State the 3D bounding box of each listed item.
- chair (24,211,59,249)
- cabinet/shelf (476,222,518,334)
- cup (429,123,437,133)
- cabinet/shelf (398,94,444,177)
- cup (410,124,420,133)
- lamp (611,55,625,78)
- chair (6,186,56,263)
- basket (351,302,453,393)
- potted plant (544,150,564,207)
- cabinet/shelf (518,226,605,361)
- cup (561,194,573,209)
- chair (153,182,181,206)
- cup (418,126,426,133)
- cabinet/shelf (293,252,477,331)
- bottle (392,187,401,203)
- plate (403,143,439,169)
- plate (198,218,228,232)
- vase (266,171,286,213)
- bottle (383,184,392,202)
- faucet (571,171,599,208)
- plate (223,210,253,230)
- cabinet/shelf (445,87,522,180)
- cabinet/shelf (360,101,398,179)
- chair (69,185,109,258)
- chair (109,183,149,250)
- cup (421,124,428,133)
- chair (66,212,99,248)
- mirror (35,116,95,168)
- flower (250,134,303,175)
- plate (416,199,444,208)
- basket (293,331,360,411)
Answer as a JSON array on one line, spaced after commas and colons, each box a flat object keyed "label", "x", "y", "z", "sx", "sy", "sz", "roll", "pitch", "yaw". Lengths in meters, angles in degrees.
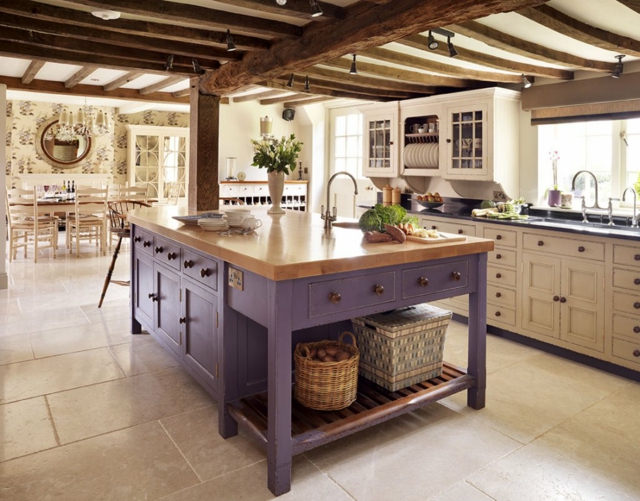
[{"label": "chair", "x": -4.350, "y": -0.327, "z": 7.494, "sx": 0.519, "sy": 0.655, "sz": 0.543, "roll": 2, "pitch": 3, "yaw": 26}, {"label": "cabinet/shelf", "x": 1.649, "y": 0.257, "z": 4.229, "sx": 0.113, "sy": 0.889, "sz": 0.394, "roll": -7, "pitch": 16, "yaw": -26}, {"label": "cup", "x": 1.272, "y": -1.385, "z": 5.285, "sx": 0.085, "sy": 0.105, "sz": 0.103, "roll": 3, "pitch": 14, "yaw": 11}, {"label": "cabinet/shelf", "x": 1.242, "y": -1.278, "z": 5.438, "sx": 0.286, "sy": 0.745, "sz": 0.562, "roll": -13, "pitch": 16, "yaw": -43}, {"label": "cup", "x": 1.112, "y": -1.440, "z": 5.522, "sx": 0.140, "sy": 0.129, "sz": 0.076, "roll": -1, "pitch": 6, "yaw": -11}, {"label": "lamp", "x": 2.621, "y": -1.612, "z": 4.136, "sx": 0.083, "sy": 0.186, "sz": 0.306, "roll": 8, "pitch": 15, "yaw": 29}, {"label": "chair", "x": -4.476, "y": -0.466, "z": 7.316, "sx": 0.670, "sy": 1.108, "sz": 1.590, "roll": -7, "pitch": 15, "yaw": -29}, {"label": "basket", "x": 0.534, "y": 0.624, "z": 3.133, "sx": 0.555, "sy": 0.382, "sz": 0.425, "roll": -5, "pitch": 8, "yaw": -37}, {"label": "potted plant", "x": 2.372, "y": -0.738, "z": 4.757, "sx": 0.163, "sy": 0.564, "sz": 0.383, "roll": 6, "pitch": 15, "yaw": 23}, {"label": "cabinet/shelf", "x": 2.172, "y": 0.245, "z": 3.966, "sx": 0.610, "sy": 1.056, "sz": 0.755, "roll": -17, "pitch": 18, "yaw": -32}, {"label": "cup", "x": 2.418, "y": -0.490, "z": 4.603, "sx": 0.106, "sy": 0.146, "sz": 0.086, "roll": 3, "pitch": 14, "yaw": 11}, {"label": "chair", "x": -3.175, "y": -1.202, "z": 9.892, "sx": 0.488, "sy": 0.443, "sz": 0.669, "roll": -4, "pitch": 14, "yaw": -17}, {"label": "cup", "x": 1.175, "y": -1.399, "z": 5.431, "sx": 0.096, "sy": 0.082, "sz": 0.056, "roll": -2, "pitch": 3, "yaw": -28}, {"label": "cabinet/shelf", "x": 0.325, "y": 0.216, "z": 2.560, "sx": 0.669, "sy": 0.153, "sz": 0.483, "roll": -4, "pitch": 4, "yaw": -35}, {"label": "bottle", "x": 0.953, "y": -0.684, "z": 5.847, "sx": 0.107, "sy": 0.198, "sz": 0.294, "roll": 3, "pitch": 14, "yaw": 11}, {"label": "plate", "x": 1.155, "y": -1.093, "z": 5.425, "sx": 0.146, "sy": 0.297, "sz": 0.488, "roll": -7, "pitch": 15, "yaw": -28}, {"label": "plate", "x": -0.729, "y": -0.172, "z": 3.211, "sx": 0.178, "sy": 0.089, "sz": 0.095, "roll": 0, "pitch": 14, "yaw": -4}, {"label": "vase", "x": -0.407, "y": -0.543, "z": 4.356, "sx": 0.154, "sy": 0.405, "sz": 0.328, "roll": -1, "pitch": 14, "yaw": -6}, {"label": "bottle", "x": 0.842, "y": -0.686, "z": 5.830, "sx": 0.102, "sy": 0.220, "sz": 0.146, "roll": 2, "pitch": 14, "yaw": 5}, {"label": "faucet", "x": 2.482, "y": -0.571, "z": 4.364, "sx": 0.233, "sy": 0.368, "sz": 0.907, "roll": 8, "pitch": 15, "yaw": 28}, {"label": "plate", "x": -0.609, "y": -0.231, "z": 3.440, "sx": 0.218, "sy": 0.123, "sz": 0.212, "roll": -1, "pitch": -1, "yaw": 44}, {"label": "cabinet/shelf", "x": 1.651, "y": -1.175, "z": 4.866, "sx": 0.820, "sy": 0.935, "sz": 0.471, "roll": 6, "pitch": 15, "yaw": 21}, {"label": "cabinet/shelf", "x": 0.756, "y": -1.365, "z": 5.811, "sx": 0.175, "sy": 0.877, "sz": 0.663, "roll": -6, "pitch": 15, "yaw": -25}, {"label": "chair", "x": -3.735, "y": -0.456, "z": 7.582, "sx": 0.511, "sy": 0.995, "sz": 0.623, "roll": 0, "pitch": 0, "yaw": -31}, {"label": "chair", "x": -3.103, "y": -0.535, "z": 7.841, "sx": 0.697, "sy": 1.014, "sz": 0.708, "roll": 0, "pitch": 10, "yaw": -3}, {"label": "cup", "x": 1.198, "y": -1.415, "z": 5.415, "sx": 0.098, "sy": 0.094, "sz": 0.056, "roll": -3, "pitch": 9, "yaw": -33}, {"label": "chair", "x": -3.806, "y": -0.375, "z": 7.694, "sx": 0.503, "sy": 0.651, "sz": 0.506, "roll": -1, "pitch": 3, "yaw": -9}, {"label": "mirror", "x": -5.214, "y": -2.223, "z": 9.509, "sx": 1.212, "sy": 1.201, "sz": 0.104, "roll": 2, "pitch": 4, "yaw": -39}, {"label": "flower", "x": -0.401, "y": -0.867, "z": 4.264, "sx": 0.430, "sy": 0.309, "sz": 0.434, "roll": 4, "pitch": 3, "yaw": 15}, {"label": "plate", "x": 1.277, "y": -0.531, "z": 5.386, "sx": 0.310, "sy": 0.108, "sz": 0.257, "roll": 8, "pitch": 15, "yaw": 29}, {"label": "basket", "x": 0.026, "y": 0.717, "z": 2.859, "sx": 0.376, "sy": 0.352, "sz": 0.391, "roll": 1, "pitch": 5, "yaw": -20}]
